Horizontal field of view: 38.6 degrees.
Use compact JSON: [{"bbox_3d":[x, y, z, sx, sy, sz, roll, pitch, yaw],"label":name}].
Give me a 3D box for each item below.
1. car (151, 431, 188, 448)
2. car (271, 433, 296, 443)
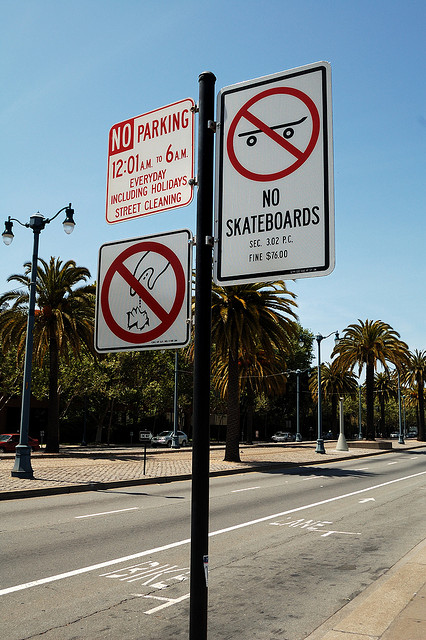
[{"bbox_3d":[-3.940,10.514,53.119,2.653,1.488,4.833,9,-13,-33],"label":"car"},{"bbox_3d":[9.233,14.776,76.322,2.563,1.145,1.211,18,-23,-39],"label":"car"}]
